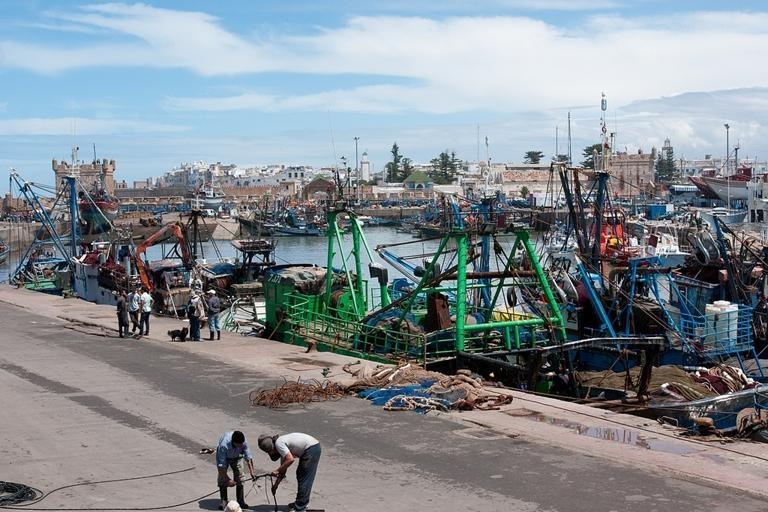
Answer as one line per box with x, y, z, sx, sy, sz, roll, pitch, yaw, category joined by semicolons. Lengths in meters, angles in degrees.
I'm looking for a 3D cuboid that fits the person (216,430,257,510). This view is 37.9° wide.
-3.007;4.313;22.481;0.695;1.583;0.339;-1;4;0;person

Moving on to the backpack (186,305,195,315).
-5.646;1.536;32.469;0.153;0.336;0.485;-3;4;-33;backpack

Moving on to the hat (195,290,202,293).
-5.885;1.119;35.208;0.135;0.084;0.124;1;1;1;hat

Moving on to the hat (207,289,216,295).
-5.723;1.182;36.919;0.293;0.123;0.382;0;3;-22;hat

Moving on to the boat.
4.197;0.600;34.931;13.738;6.416;12.698;0;3;18;boat

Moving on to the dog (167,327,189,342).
-6.048;2.267;32.780;0.590;0.387;1.024;-1;3;-11;dog

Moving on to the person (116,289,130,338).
-7.778;1.775;33.185;0.298;1.195;1.168;-1;4;-11;person

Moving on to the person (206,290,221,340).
-4.999;1.794;32.799;0.341;1.279;1.177;-1;4;-8;person
